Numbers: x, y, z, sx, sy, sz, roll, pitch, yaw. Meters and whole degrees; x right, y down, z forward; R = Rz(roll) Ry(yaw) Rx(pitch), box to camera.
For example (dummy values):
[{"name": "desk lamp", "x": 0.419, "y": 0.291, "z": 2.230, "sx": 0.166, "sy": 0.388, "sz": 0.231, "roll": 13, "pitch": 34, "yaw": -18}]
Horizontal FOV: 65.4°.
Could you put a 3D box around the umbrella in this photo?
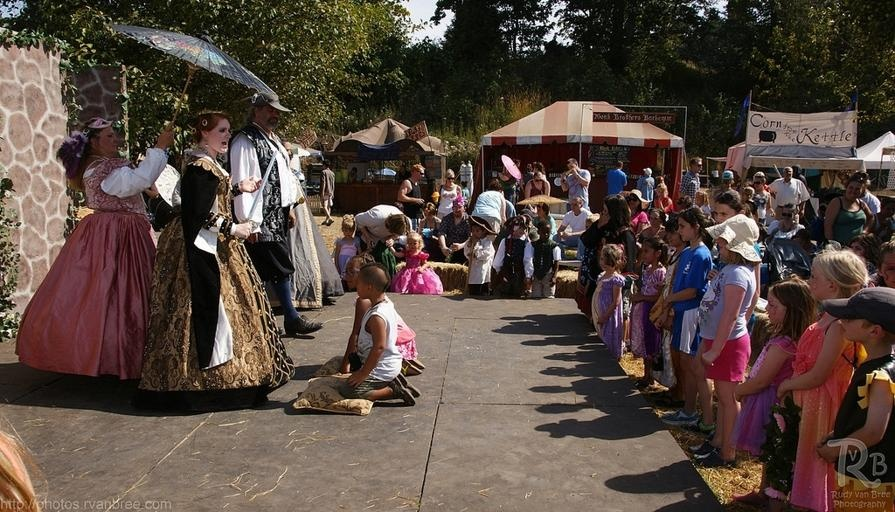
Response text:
[{"name": "umbrella", "x": -2.321, "y": -1.858, "z": 6.368, "sx": 1.147, "sy": 0.779, "sz": 1.200, "roll": 19, "pitch": 12, "yaw": -33}]

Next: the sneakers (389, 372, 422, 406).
[{"name": "sneakers", "x": -0.387, "y": 1.235, "z": 6.520, "sx": 0.302, "sy": 0.275, "sz": 0.153, "roll": -3, "pitch": 3, "yaw": -15}]

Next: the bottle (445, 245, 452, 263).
[{"name": "bottle", "x": 0.015, "y": -0.025, "z": 11.809, "sx": 0.093, "sy": 0.168, "sz": 0.236, "roll": -7, "pitch": -32, "yaw": -13}]

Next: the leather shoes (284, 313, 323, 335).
[{"name": "leather shoes", "x": -1.603, "y": 0.755, "z": 7.819, "sx": 0.529, "sy": 0.230, "sz": 0.175, "roll": -2, "pitch": 6, "yaw": -8}]

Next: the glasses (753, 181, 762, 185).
[{"name": "glasses", "x": 6.130, "y": -1.466, "z": 13.833, "sx": 0.152, "sy": 0.043, "sz": 0.144, "roll": 3, "pitch": 0, "yaw": -24}]

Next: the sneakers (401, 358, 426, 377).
[{"name": "sneakers", "x": -0.350, "y": 1.111, "z": 6.993, "sx": 0.206, "sy": 0.076, "sz": 0.149, "roll": 4, "pitch": 5, "yaw": -6}]

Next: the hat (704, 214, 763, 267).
[{"name": "hat", "x": 2.599, "y": -0.182, "z": 6.227, "sx": 0.407, "sy": 0.210, "sz": 0.443, "roll": 19, "pitch": 8, "yaw": -32}]

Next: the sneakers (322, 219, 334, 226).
[{"name": "sneakers", "x": -3.328, "y": -0.938, "z": 19.498, "sx": 0.226, "sy": 0.158, "sz": 0.521, "roll": 17, "pitch": -2, "yaw": -27}]

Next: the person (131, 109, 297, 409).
[{"name": "person", "x": -2.158, "y": -0.050, "z": 6.297, "sx": 1.202, "sy": 2.503, "sz": 0.424, "roll": -3, "pitch": 3, "yaw": 1}]

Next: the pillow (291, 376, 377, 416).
[{"name": "pillow", "x": -1.074, "y": 1.288, "z": 6.454, "sx": 0.433, "sy": 0.122, "sz": 0.419, "roll": 4, "pitch": 18, "yaw": 2}]

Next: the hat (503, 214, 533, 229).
[{"name": "hat", "x": 1.067, "y": -0.519, "z": 10.440, "sx": 0.355, "sy": 0.098, "sz": 0.348, "roll": -7, "pitch": -14, "yaw": -4}]
